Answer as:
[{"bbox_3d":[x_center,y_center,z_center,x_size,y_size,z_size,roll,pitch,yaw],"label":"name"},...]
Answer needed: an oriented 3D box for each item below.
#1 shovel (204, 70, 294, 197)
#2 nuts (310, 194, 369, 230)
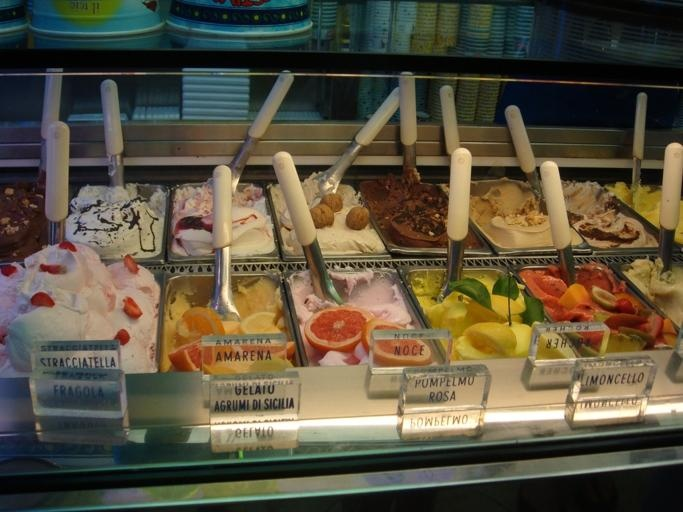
[{"bbox_3d":[-0.352,-0.478,2.167,0.201,0.069,0.568,23,-44,-16],"label":"shovel"},{"bbox_3d":[-0.016,-0.172,2.262,0.174,0.090,0.191,9,32,26],"label":"nuts"}]
